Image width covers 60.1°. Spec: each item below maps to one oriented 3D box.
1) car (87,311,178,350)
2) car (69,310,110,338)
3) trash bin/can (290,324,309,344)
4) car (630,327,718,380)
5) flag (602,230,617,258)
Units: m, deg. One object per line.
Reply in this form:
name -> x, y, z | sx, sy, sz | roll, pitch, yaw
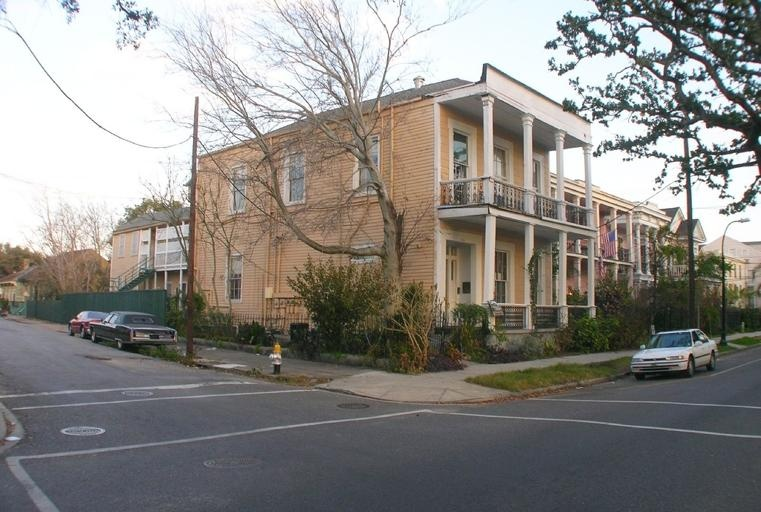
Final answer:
car -> -10.262, 3.104, 27.461 | 4.978, 1.554, 1.529 | -7, -10, 42
car -> -14.217, 3.394, 32.111 | 1.354, 1.124, 3.096 | 3, -4, -36
trash bin/can -> -3.093, 2.872, 24.859 | 0.761, 0.826, 0.617 | 0, -12, -4
car -> 10.455, 3.454, 23.460 | 1.451, 1.762, 4.214 | -6, -10, 44
flag -> 11.473, -0.718, 33.034 | 0.641, 1.332, 1.876 | -2, -8, 19
